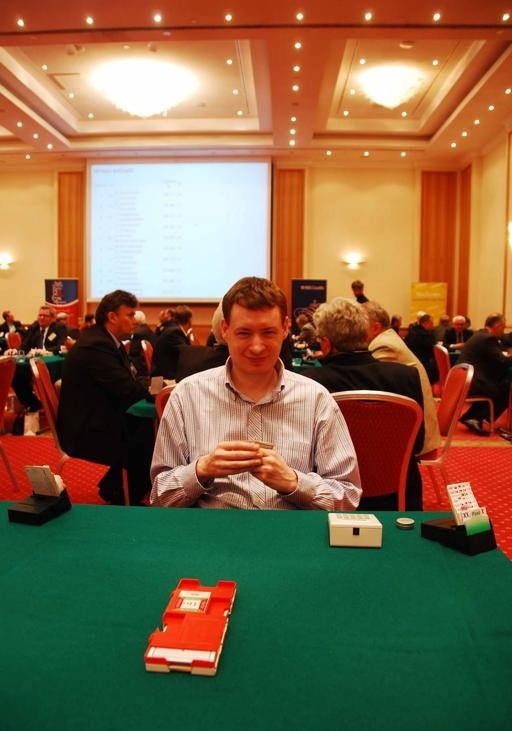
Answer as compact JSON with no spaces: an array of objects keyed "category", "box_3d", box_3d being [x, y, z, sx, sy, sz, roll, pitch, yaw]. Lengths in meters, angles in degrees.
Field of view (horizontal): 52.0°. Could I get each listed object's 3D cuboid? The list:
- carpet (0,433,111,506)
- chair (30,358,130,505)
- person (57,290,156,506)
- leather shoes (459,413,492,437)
[{"category":"carpet","box_3d":[-1.075,0.570,2.852,0.585,0.025,0.660,2,13,-7]},{"category":"chair","box_3d":[-1.053,0.390,3.259,0.656,0.992,0.576,0,15,-12]},{"category":"person","box_3d":[-0.827,0.217,2.937,0.570,1.196,0.474,3,1,-6]},{"category":"leather shoes","box_3d":[2.198,0.619,5.260,0.167,0.126,0.386,-45,29,-7]}]
